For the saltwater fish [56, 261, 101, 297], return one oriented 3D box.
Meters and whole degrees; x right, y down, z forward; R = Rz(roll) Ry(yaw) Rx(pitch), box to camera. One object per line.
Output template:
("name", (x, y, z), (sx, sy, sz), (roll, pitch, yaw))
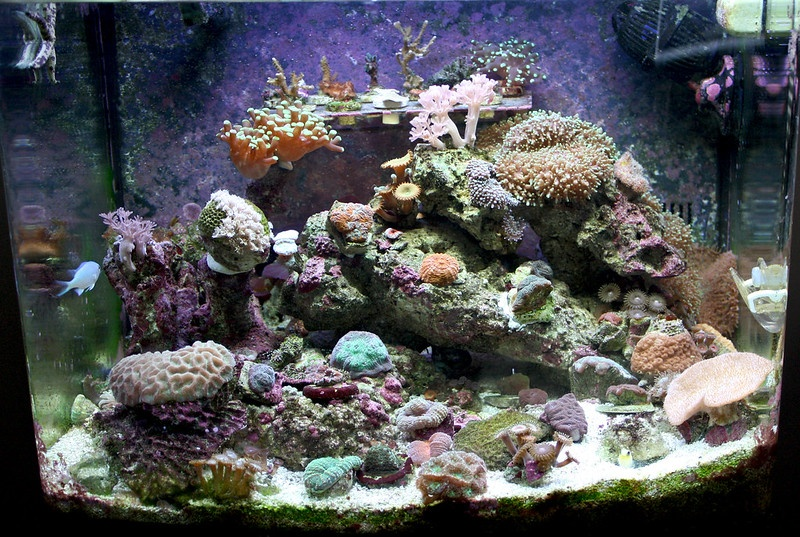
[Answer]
("saltwater fish", (-2.245, 0.079, 5.562), (0.091, 0.198, 0.398), (5, 25, 25))
